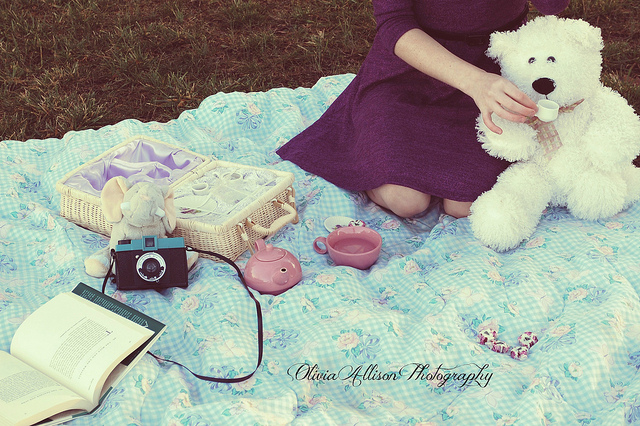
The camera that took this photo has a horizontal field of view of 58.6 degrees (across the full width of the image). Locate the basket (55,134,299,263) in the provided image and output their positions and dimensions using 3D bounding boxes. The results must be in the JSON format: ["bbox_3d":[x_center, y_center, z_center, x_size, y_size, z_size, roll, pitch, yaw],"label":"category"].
[{"bbox_3d":[-0.709,-0.147,2.940,1.089,0.296,0.634,19,36,15],"label":"basket"}]

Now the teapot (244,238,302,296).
[{"bbox_3d":[-0.228,0.245,2.692,0.259,0.191,0.343,-16,23,-19],"label":"teapot"}]

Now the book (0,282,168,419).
[{"bbox_3d":[-0.981,0.536,2.184,0.492,0.142,0.574,24,56,15],"label":"book"}]

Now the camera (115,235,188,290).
[{"bbox_3d":[-0.739,0.221,2.609,0.336,0.182,0.225,-5,85,9],"label":"camera"}]

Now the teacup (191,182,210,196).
[{"bbox_3d":[-0.605,-0.126,2.895,0.081,0.055,0.057,-2,43,8],"label":"teacup"}]

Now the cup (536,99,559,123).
[{"bbox_3d":[1.009,-0.452,2.531,0.125,0.077,0.079,11,33,28],"label":"cup"}]

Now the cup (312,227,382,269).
[{"bbox_3d":[0.158,0.216,2.870,0.281,0.349,0.131,6,76,-41],"label":"cup"}]

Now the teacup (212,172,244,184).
[{"bbox_3d":[-0.474,-0.186,2.963,0.090,0.052,0.087,-4,25,-9],"label":"teacup"}]
